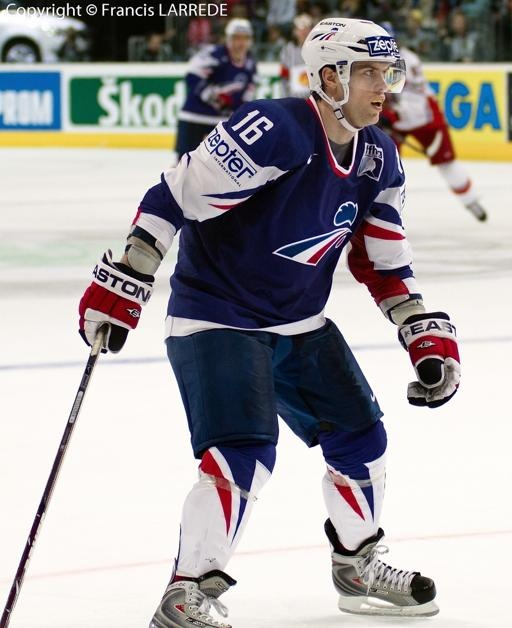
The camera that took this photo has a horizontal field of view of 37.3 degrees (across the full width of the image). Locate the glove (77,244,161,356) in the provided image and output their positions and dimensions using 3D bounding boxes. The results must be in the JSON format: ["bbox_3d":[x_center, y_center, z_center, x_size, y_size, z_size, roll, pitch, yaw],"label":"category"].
[{"bbox_3d":[-0.244,-0.037,1.509,0.164,0.179,0.196,13,29,-13],"label":"glove"}]

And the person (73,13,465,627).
[{"bbox_3d":[0.106,-0.007,1.478,0.803,1.222,0.560,-2,8,-26],"label":"person"}]

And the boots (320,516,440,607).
[{"bbox_3d":[0.226,0.530,1.596,0.318,0.180,0.098,-1,-2,15],"label":"boots"}]

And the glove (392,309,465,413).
[{"bbox_3d":[0.382,0.099,1.665,0.157,0.189,0.085,-14,-20,20],"label":"glove"}]
